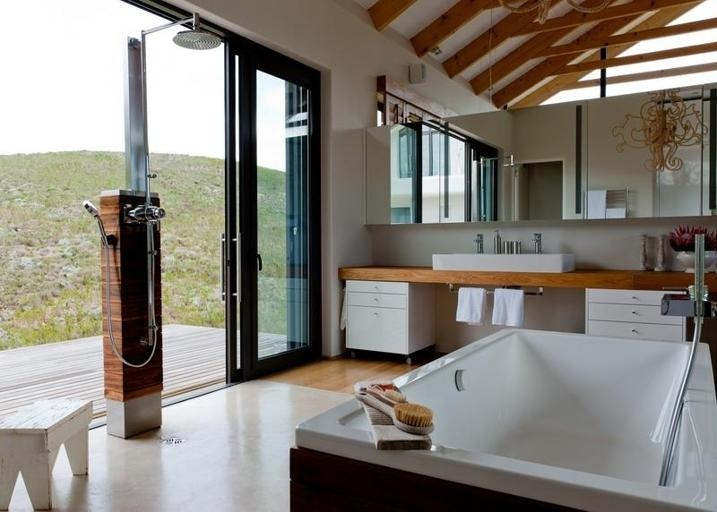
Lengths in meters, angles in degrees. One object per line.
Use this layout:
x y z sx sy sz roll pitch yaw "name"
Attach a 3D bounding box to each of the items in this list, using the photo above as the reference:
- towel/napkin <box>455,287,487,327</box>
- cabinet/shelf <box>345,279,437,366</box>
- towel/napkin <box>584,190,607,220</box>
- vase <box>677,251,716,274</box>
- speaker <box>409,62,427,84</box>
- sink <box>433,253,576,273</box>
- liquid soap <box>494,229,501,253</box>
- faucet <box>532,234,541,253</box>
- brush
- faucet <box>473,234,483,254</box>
1.059 0.455 4.939 0.389 0.471 0.188 0 -7 26 "towel/napkin"
0.344 0.641 5.493 0.745 0.749 0.764 -1 -3 32 "cabinet/shelf"
2.085 -0.458 4.669 0.171 0.248 0.040 -1 5 24 "towel/napkin"
2.775 0.037 4.417 0.248 0.118 0.253 -1 2 -22 "vase"
0.673 -2.073 6.091 0.213 0.281 0.194 2 3 21 "speaker"
1.226 0.060 4.774 1.146 0.158 0.157 -1 5 20 "sink"
1.367 -0.145 5.211 0.070 0.208 0.182 -1 5 15 "liquid soap"
1.712 -0.123 5.070 0.079 0.190 0.190 -1 5 19 "faucet"
0.144 0.543 2.064 0.126 0.068 0.399 -1 4 -21 "brush"
1.200 -0.129 5.328 0.105 0.185 0.106 0 5 26 "faucet"
